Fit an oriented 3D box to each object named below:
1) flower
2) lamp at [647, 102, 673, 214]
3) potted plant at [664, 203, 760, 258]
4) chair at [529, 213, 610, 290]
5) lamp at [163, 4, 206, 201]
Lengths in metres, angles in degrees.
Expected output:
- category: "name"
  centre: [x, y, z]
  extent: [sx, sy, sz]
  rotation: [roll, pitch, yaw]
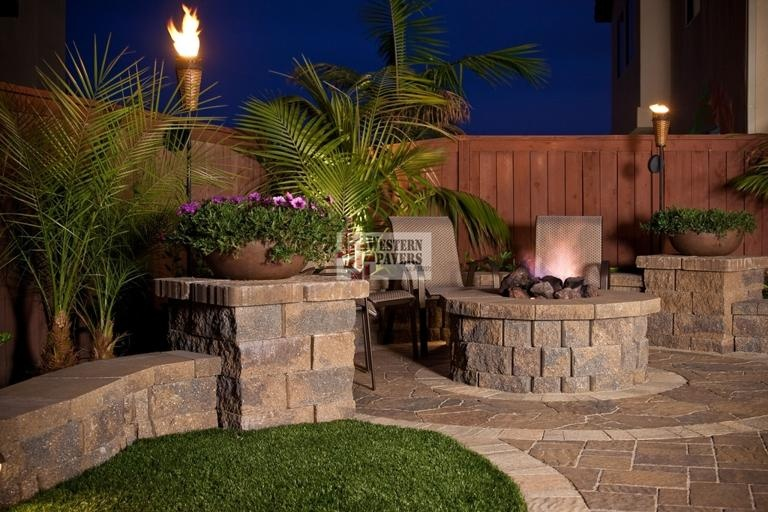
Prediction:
- category: "flower"
  centre: [-0.941, -0.182, 4.691]
  extent: [1.287, 0.597, 0.419]
  rotation: [-1, 5, -16]
- category: "lamp"
  centre: [3.818, -1.387, 8.518]
  extent: [0.246, 1.497, 0.666]
  rotation: [3, 6, 23]
- category: "potted plant"
  centre: [3.949, -0.305, 7.448]
  extent: [0.712, 0.441, 0.753]
  rotation: [0, -4, 2]
- category: "chair"
  centre: [2.006, -0.054, 6.634]
  extent: [0.716, 1.095, 0.800]
  rotation: [0, -2, 17]
- category: "lamp"
  centre: [-1.715, -1.365, 5.286]
  extent: [0.254, 1.754, 0.859]
  rotation: [-1, 5, -17]
